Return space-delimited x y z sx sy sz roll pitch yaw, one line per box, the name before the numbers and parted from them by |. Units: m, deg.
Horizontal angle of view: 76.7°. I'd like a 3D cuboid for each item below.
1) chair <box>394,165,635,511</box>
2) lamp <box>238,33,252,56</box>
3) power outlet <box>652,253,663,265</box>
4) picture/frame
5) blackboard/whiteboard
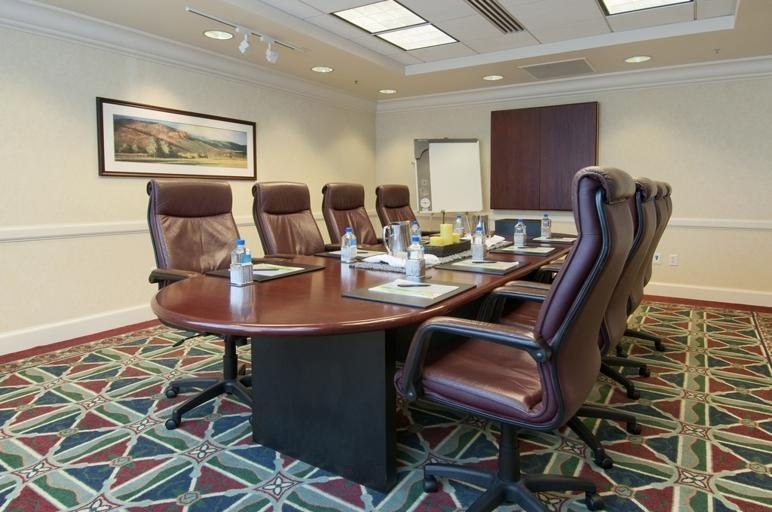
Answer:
chair | 0.676 0.492 2.548 0.962 1.877 0.558 4 14 23
lamp | -1.400 -2.152 4.911 0.091 0.204 0.169 19 4 -41
power outlet | 3.260 0.028 5.937 0.089 0.141 0.163 -1 -1 -36
picture/frame | -2.308 -1.235 5.250 0.065 0.804 1.440 10 16 42
blackboard/whiteboard | 0.955 -1.200 7.253 1.466 1.225 0.220 1 1 6
